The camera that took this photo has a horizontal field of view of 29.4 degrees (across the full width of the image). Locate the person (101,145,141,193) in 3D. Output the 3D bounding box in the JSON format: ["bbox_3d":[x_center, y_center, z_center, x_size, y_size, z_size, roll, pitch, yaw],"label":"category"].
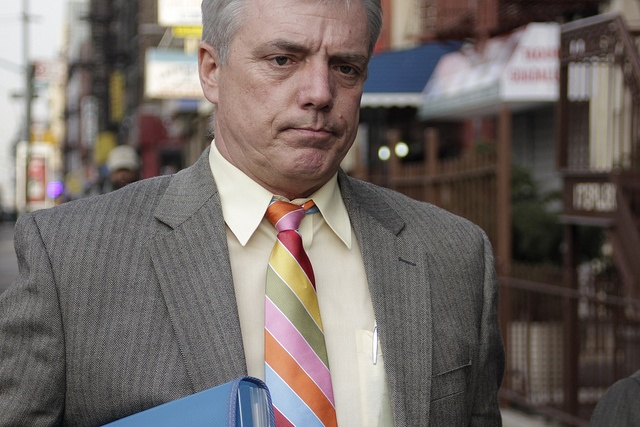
[{"bbox_3d":[-2.956,-0.743,18.312,0.521,1.050,0.424,-5,-15,-8],"label":"person"}]
